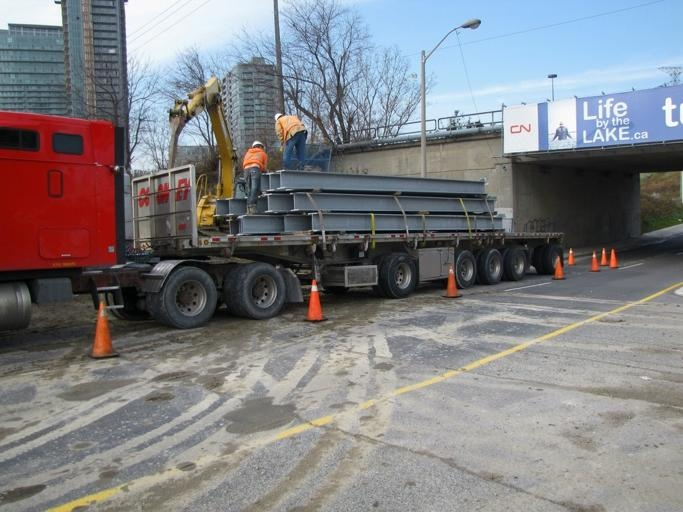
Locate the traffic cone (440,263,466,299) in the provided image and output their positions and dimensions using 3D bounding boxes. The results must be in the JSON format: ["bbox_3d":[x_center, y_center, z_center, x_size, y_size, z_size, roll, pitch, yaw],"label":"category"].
[{"bbox_3d":[3.170,0.790,14.172,0.707,0.938,0.782,-2,8,4],"label":"traffic cone"}]

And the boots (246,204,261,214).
[{"bbox_3d":[-2.216,-1.147,12.279,0.340,0.370,0.170,-9,13,-29],"label":"boots"}]

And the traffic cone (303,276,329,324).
[{"bbox_3d":[-0.591,1.007,10.940,0.576,0.925,0.571,-1,2,4],"label":"traffic cone"}]
